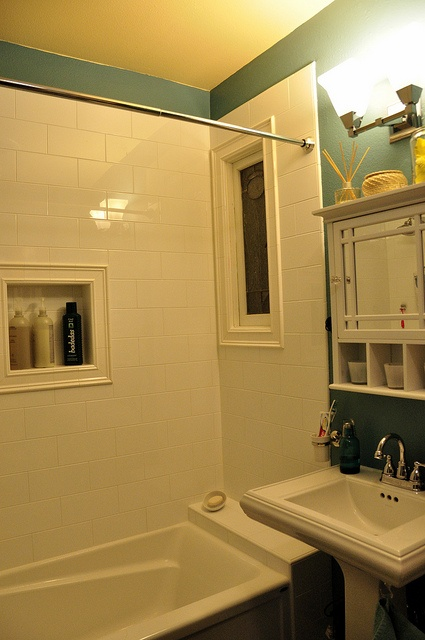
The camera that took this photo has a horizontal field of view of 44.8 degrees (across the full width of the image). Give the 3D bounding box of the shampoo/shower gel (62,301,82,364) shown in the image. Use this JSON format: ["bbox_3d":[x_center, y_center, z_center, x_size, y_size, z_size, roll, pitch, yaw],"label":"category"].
[{"bbox_3d":[-0.630,0.064,2.316,0.092,0.286,0.111,-6,0,-17],"label":"shampoo/shower gel"}]

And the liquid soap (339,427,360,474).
[{"bbox_3d":[0.479,0.440,1.819,0.071,0.172,0.120,-6,0,21],"label":"liquid soap"}]

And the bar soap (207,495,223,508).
[{"bbox_3d":[0.009,0.850,2.410,0.060,0.013,0.063,-4,0,-9],"label":"bar soap"}]

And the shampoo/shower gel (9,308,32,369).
[{"bbox_3d":[-0.803,0.099,2.147,0.085,0.250,0.028,-6,0,-28],"label":"shampoo/shower gel"}]

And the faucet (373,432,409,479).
[{"bbox_3d":[0.541,0.422,1.569,0.061,0.138,0.159,-6,1,42],"label":"faucet"}]

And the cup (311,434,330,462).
[{"bbox_3d":[0.386,0.463,1.898,0.087,0.112,0.082,1,2,0],"label":"cup"}]
